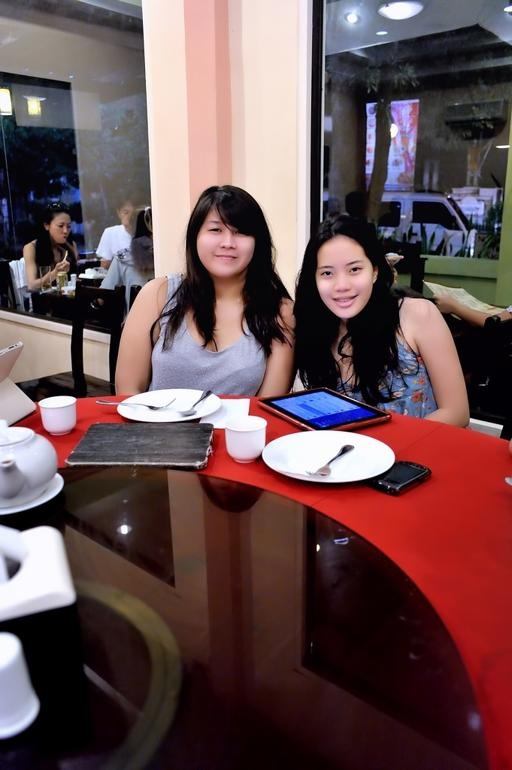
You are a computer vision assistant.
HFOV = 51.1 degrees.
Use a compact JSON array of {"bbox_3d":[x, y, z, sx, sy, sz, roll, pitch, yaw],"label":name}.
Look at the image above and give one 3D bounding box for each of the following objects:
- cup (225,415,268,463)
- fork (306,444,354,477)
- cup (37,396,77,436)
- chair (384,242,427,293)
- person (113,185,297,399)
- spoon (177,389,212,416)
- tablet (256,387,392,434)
[{"bbox_3d":[-0.019,0.108,1.089,0.077,0.073,0.087,2,9,13],"label":"cup"},{"bbox_3d":[0.142,0.143,1.003,0.031,0.032,0.214,5,11,23],"label":"fork"},{"bbox_3d":[-0.446,0.065,1.204,0.078,0.075,0.088,-6,6,-13],"label":"cup"},{"bbox_3d":[0.805,-0.638,2.795,0.185,0.190,0.112,-1,21,36],"label":"chair"},{"bbox_3d":[-0.160,-0.304,1.991,0.629,0.826,0.442,5,12,-2],"label":"person"},{"bbox_3d":[-0.155,0.037,1.360,0.026,0.021,0.140,7,24,8],"label":"spoon"},{"bbox_3d":[0.179,0.068,1.342,0.177,0.018,0.246,-13,15,-21],"label":"tablet"}]
